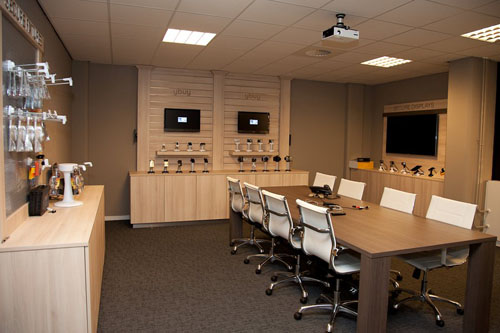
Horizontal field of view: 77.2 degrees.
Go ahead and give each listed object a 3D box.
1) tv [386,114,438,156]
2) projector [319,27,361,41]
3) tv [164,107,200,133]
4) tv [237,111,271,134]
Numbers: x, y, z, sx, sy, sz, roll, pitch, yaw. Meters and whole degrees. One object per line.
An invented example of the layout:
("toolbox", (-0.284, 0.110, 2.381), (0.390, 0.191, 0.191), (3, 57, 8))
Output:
("tv", (4.072, -0.811, 7.785), (0.052, 0.788, 1.207), (-3, 5, -29))
("projector", (1.231, -1.797, 4.216), (0.327, 0.102, 0.247), (-2, 8, -18))
("tv", (-1.617, -1.104, 7.230), (0.705, 0.407, 0.091), (0, 7, -16))
("tv", (0.050, -1.111, 7.734), (0.678, 0.406, 0.083), (1, 2, -20))
